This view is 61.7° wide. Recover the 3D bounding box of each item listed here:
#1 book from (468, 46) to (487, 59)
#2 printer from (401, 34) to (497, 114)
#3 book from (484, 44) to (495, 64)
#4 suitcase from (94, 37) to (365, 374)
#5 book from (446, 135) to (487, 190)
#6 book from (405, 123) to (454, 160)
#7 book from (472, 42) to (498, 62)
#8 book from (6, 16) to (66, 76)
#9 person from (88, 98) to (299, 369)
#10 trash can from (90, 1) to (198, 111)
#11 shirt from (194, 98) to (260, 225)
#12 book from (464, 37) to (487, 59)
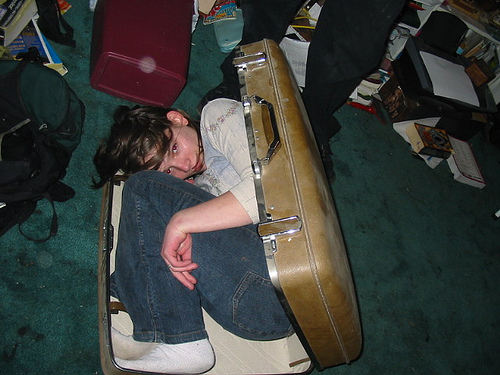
[{"bbox_3d":[1.337,-0.786,2.450,0.016,0.068,0.070,36,38,-14],"label":"book"},{"bbox_3d":[1.062,-0.551,2.309,0.432,0.134,0.475,12,60,-29],"label":"printer"},{"bbox_3d":[1.387,-0.769,2.420,0.015,0.063,0.068,15,64,-13],"label":"book"},{"bbox_3d":[-0.167,0.286,2.044,1.142,1.057,1.515,-10,71,-1],"label":"suitcase"},{"bbox_3d":[1.248,-0.144,2.413,0.276,0.088,0.313,5,73,-11],"label":"book"},{"bbox_3d":[1.027,-0.231,2.340,0.169,0.080,0.255,9,56,-8],"label":"book"},{"bbox_3d":[1.362,-0.759,2.405,0.087,0.110,0.077,-35,83,-20],"label":"book"},{"bbox_3d":[-1.040,-0.676,2.059,0.256,0.070,0.274,32,60,-28],"label":"book"},{"bbox_3d":[-0.144,0.187,1.620,0.292,0.788,1.083,-9,107,-29],"label":"person"},{"bbox_3d":[-0.516,-0.615,1.957,0.301,0.307,0.597,23,50,-32],"label":"trash can"},{"bbox_3d":[-0.088,-0.109,1.578,0.119,0.421,0.330,-9,59,7],"label":"shirt"},{"bbox_3d":[1.327,-0.812,2.450,0.022,0.091,0.093,38,100,6],"label":"book"}]
